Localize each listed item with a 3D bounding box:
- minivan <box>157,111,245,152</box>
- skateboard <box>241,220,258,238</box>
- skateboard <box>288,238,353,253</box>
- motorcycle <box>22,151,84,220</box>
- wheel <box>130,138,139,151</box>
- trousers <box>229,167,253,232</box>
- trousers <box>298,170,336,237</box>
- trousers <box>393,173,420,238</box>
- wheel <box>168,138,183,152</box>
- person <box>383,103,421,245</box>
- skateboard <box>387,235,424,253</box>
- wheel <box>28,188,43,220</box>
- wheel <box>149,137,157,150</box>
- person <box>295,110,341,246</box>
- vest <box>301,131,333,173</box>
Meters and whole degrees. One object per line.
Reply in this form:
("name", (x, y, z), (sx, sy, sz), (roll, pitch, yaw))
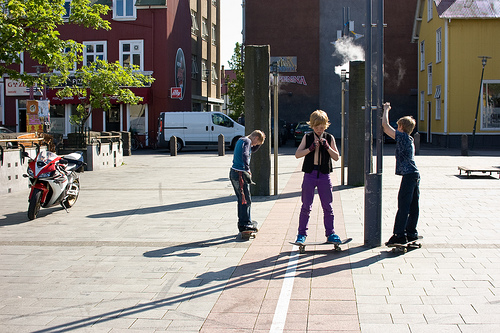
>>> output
("minivan", (-2.878, -2.107, 35.389), (4.644, 1.892, 2.304), (-2, 4, -4))
("skateboard", (-0.023, 1.236, 11.836), (0.242, 0.334, 0.798), (1, -5, -2))
("skateboard", (1.349, 1.421, 10.988), (1.034, 0.184, 0.350), (-2, 9, 0))
("motorcycle", (-4.566, 0.365, 14.051), (0.645, 1.424, 1.748), (2, 10, 12))
("wheel", (-7.031, -1.368, 37.055), (0.636, 0.639, 0.153), (5, -1, -6))
("trousers", (-0.148, 0.645, 11.981), (0.338, 1.189, 0.494), (-4, 11, -22))
("trousers", (1.252, 0.695, 11.183), (0.716, 0.386, 1.731), (3, 43, 6))
("trousers", (2.863, 0.716, 11.028), (0.315, 1.198, 0.626), (9, 13, 42))
("wheel", (-4.048, -1.211, 33.013), (0.755, 0.792, 0.296), (4, 8, 12))
("person", (2.795, 0.118, 11.083), (0.680, 2.522, 0.982), (2, 10, 15))
("skateboard", (2.885, 1.413, 11.049), (0.860, 0.266, 0.146), (-4, 22, -27))
("wheel", (-4.782, 0.859, 13.522), (0.203, 0.618, 0.640), (8, 4, 3))
("wheel", (-6.109, -1.443, 38.399), (0.186, 0.791, 0.464), (-8, 4, -39))
("person", (1.252, 0.240, 11.028), (0.795, 2.460, 0.660), (1, 10, 4))
("vest", (1.236, -0.254, 10.992), (0.695, 0.914, 0.472), (1, -3, 1))
